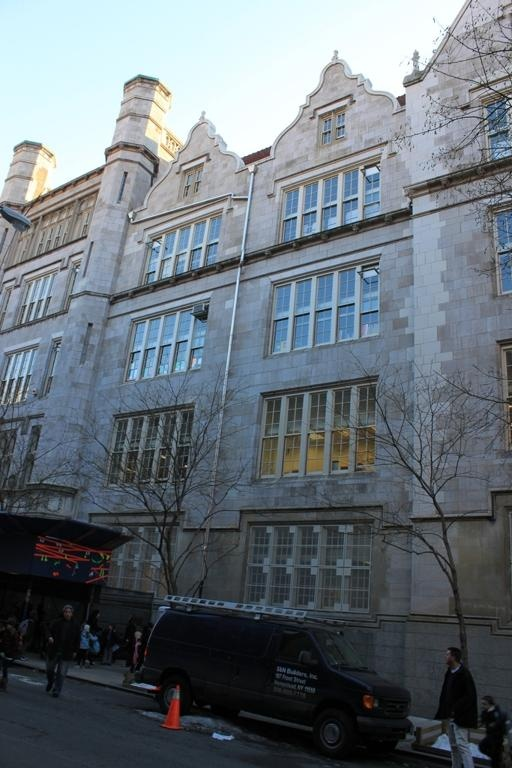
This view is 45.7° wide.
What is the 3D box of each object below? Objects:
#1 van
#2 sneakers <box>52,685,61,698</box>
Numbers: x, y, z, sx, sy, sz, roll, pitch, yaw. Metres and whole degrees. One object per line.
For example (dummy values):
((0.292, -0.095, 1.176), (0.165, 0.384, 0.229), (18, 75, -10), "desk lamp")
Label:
((1.235, 5.138, 10.977), (3.357, 1.404, 3.432), (-13, -27, 42), "van")
((-3.542, 5.471, 10.758), (0.130, 0.170, 0.259), (9, -24, -6), "sneakers")
